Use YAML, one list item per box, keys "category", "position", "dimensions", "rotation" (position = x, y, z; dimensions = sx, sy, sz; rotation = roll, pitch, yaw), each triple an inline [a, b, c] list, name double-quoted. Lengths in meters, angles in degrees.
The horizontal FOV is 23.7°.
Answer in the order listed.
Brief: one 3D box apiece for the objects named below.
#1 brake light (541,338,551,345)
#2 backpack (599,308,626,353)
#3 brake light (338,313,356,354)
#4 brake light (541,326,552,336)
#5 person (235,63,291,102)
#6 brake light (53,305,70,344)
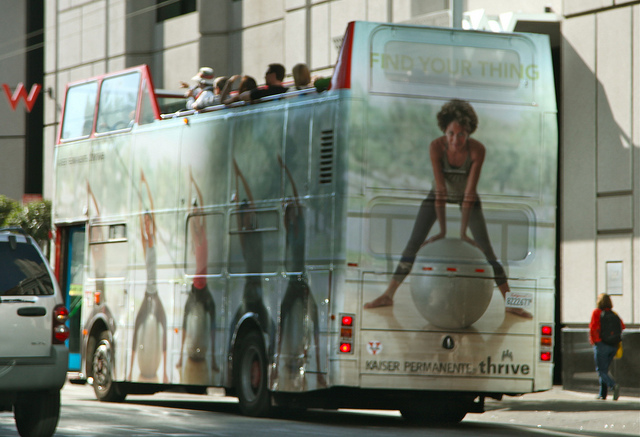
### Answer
- category: "brake light"
  position: [3.999, 2.131, 26.891]
  dimensions: [0.172, 0.123, 0.096]
  rotation: [2, 0, -7]
- category: "backpack"
  position: [5.888, 2.223, 30.791]
  dimensions: [0.461, 0.860, 0.272]
  rotation: [2, 3, 12]
- category: "brake light"
  position: [0.462, 1.940, 26.193]
  dimensions: [0.282, 0.662, 0.146]
  rotation: [1, 3, 7]
- category: "brake light"
  position: [3.984, 1.928, 26.945]
  dimensions: [0.219, 0.234, 0.118]
  rotation: [1, 0, -1]
- category: "person"
  position: [-1.089, -2.479, 27.990]
  dimensions: [0.875, 0.448, 0.649]
  rotation: [-4, 3, 5]
- category: "brake light"
  position: [-4.181, 1.687, 24.441]
  dimensions: [0.357, 0.510, 0.155]
  rotation: [-6, -4, -14]
